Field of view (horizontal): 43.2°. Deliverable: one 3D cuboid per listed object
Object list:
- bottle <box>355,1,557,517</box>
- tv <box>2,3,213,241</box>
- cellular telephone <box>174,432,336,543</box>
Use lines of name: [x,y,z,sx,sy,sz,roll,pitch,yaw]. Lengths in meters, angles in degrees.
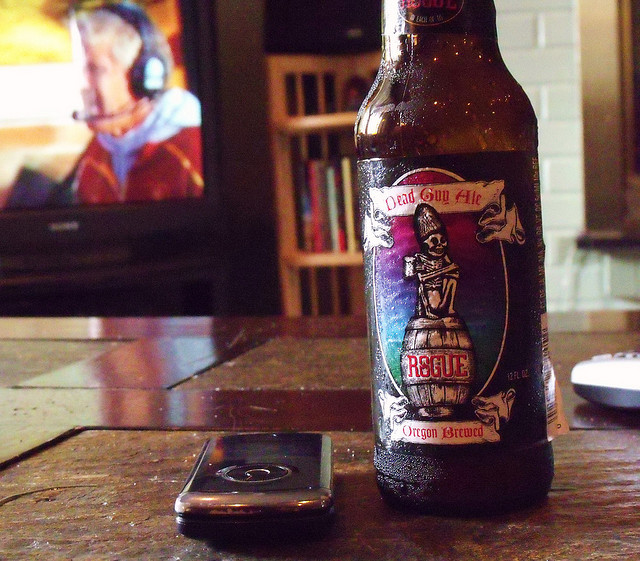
bottle: [0.058,-0.014,0.365,0.082,0.226,0.101,-3,11,14]
tv: [-0.123,-0.090,0.455,0.144,0.156,0.016,-4,13,-17]
cellular telephone: [-0.026,0.086,0.367,0.063,0.019,0.104,-5,10,0]
